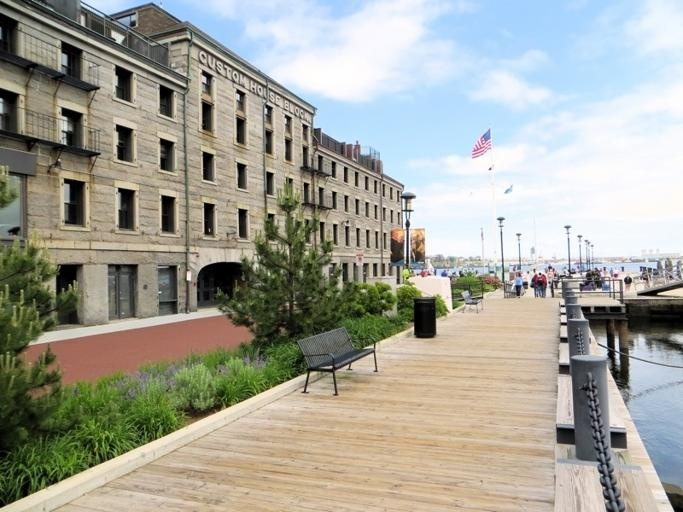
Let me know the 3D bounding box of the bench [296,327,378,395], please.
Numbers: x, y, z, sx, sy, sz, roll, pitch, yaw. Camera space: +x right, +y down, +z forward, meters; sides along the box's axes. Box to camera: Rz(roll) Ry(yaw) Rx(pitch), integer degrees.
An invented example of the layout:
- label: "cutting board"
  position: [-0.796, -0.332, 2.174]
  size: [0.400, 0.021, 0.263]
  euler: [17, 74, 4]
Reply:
- label: "bench"
  position: [-0.010, 2.225, 11.000]
  size: [0.927, 1.070, 2.501]
  euler: [-3, -2, 24]

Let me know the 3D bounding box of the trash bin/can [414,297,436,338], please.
- label: "trash bin/can"
  position: [2.937, 1.990, 16.353]
  size: [0.873, 1.307, 0.823]
  euler: [5, -7, -31]

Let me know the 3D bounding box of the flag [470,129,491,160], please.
- label: "flag"
  position: [11.998, -9.538, 42.779]
  size: [1.384, 2.579, 3.895]
  euler: [1, 5, 14]
